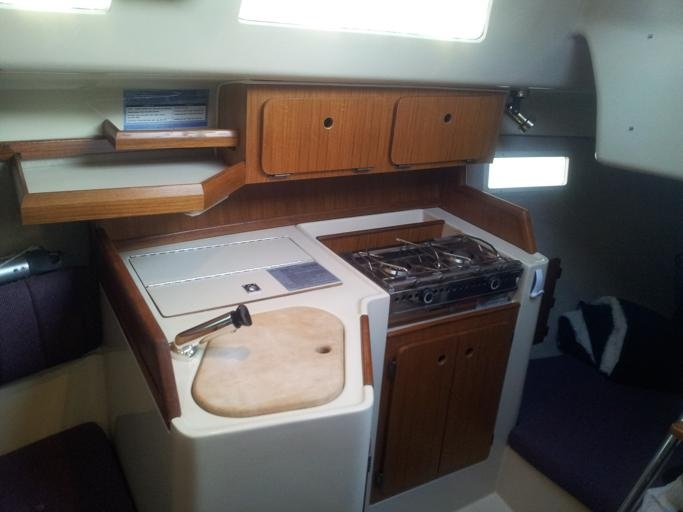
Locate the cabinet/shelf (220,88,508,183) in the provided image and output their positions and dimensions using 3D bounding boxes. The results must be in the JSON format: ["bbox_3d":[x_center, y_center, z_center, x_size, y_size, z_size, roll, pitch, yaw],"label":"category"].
[{"bbox_3d":[0.132,-0.522,2.428,1.432,0.432,0.413,-10,18,-31],"label":"cabinet/shelf"}]

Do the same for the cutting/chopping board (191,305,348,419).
[{"bbox_3d":[-0.206,0.325,1.594,0.306,0.061,0.308,-8,28,-18],"label":"cutting/chopping board"}]

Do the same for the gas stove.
[{"bbox_3d":[0.402,0.086,2.308,0.719,0.231,0.430,-11,25,-25],"label":"gas stove"}]

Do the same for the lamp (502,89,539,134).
[{"bbox_3d":[0.918,-0.745,2.617,0.155,0.208,0.086,13,23,28],"label":"lamp"}]

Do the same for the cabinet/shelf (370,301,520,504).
[{"bbox_3d":[0.359,0.612,2.535,0.772,1.031,0.584,-8,24,-22],"label":"cabinet/shelf"}]
